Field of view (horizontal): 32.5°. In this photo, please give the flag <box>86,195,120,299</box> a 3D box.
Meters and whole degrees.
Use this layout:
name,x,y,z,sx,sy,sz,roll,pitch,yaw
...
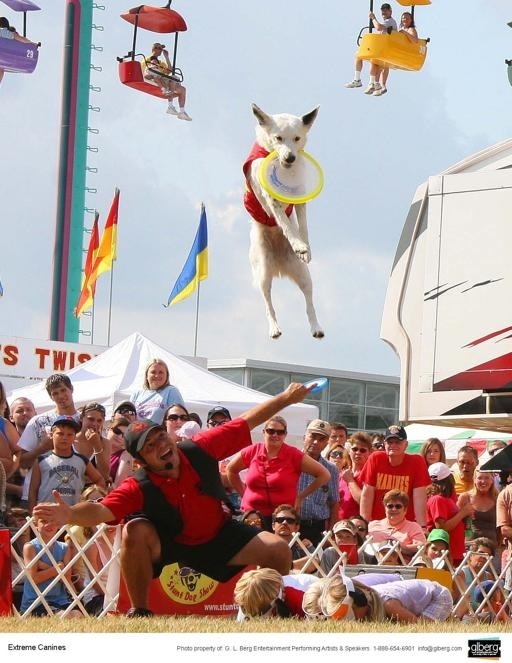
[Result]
name,x,y,z,sx,sy,sz,roll,pitch,yaw
flag,-3.741,-2.334,21.594,0.600,2.451,1.913,4,2,-12

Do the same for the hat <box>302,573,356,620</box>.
name,x,y,z,sx,sy,sz,roll,pitch,yaw
hat,0.358,1.331,4.373,0.293,0.159,0.220,5,3,39

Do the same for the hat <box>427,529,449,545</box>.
name,x,y,z,sx,sy,sz,roll,pitch,yaw
hat,1.300,1.462,6.256,0.113,0.071,0.146,7,-13,0

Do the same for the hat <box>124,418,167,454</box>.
name,x,y,z,sx,sy,sz,roll,pitch,yaw
hat,-0.558,0.539,4.377,0.164,0.184,0.213,3,2,-26

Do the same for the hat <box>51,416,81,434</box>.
name,x,y,z,sx,sy,sz,roll,pitch,yaw
hat,-1.300,0.630,6.090,0.169,0.067,0.217,4,-10,-1

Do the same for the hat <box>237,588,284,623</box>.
name,x,y,z,sx,sy,sz,roll,pitch,yaw
hat,0.015,1.359,4.339,0.209,0.103,0.137,-9,-8,-12

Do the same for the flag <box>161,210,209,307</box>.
name,x,y,z,sx,sy,sz,roll,pitch,yaw
flag,-1.387,-1.614,18.407,0.678,2.125,0.680,4,2,-11

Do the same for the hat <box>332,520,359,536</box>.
name,x,y,z,sx,sy,sz,roll,pitch,yaw
hat,0.602,1.304,5.823,0.123,0.065,0.161,1,-18,9

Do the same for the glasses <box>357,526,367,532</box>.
name,x,y,z,sx,sy,sz,roll,pitch,yaw
glasses,0.752,1.387,6.180,0.054,0.017,0.052,3,-7,-17

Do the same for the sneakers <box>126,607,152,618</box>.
name,x,y,z,sx,sy,sz,roll,pitch,yaw
sneakers,-0.572,1.381,4.304,0.130,0.047,0.042,8,-17,-3

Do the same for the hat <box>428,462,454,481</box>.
name,x,y,z,sx,sy,sz,roll,pitch,yaw
hat,1.520,1.139,7.214,0.129,0.097,0.206,8,21,37

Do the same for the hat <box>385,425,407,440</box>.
name,x,y,z,sx,sy,sz,roll,pitch,yaw
hat,1.073,0.782,6.747,0.133,0.097,0.201,3,-21,17

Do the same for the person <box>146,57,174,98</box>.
name,x,y,z,sx,sy,sz,roll,pitch,yaw
person,-2.181,-5.834,20.076,0.611,0.489,0.875,4,2,11
